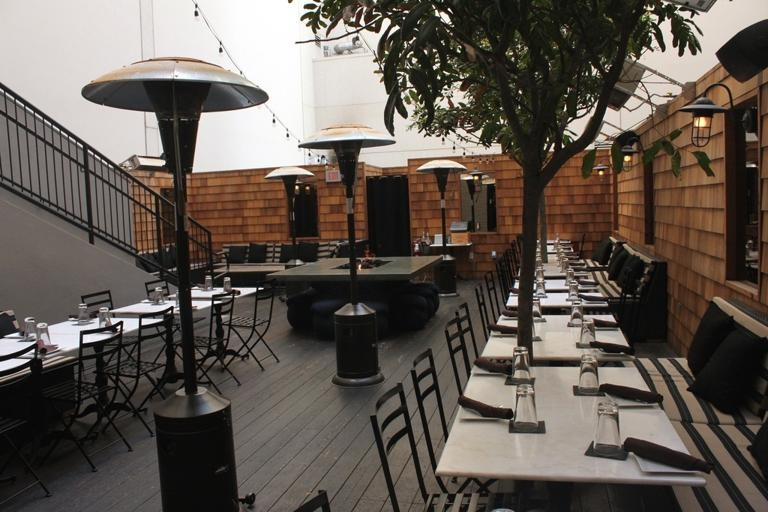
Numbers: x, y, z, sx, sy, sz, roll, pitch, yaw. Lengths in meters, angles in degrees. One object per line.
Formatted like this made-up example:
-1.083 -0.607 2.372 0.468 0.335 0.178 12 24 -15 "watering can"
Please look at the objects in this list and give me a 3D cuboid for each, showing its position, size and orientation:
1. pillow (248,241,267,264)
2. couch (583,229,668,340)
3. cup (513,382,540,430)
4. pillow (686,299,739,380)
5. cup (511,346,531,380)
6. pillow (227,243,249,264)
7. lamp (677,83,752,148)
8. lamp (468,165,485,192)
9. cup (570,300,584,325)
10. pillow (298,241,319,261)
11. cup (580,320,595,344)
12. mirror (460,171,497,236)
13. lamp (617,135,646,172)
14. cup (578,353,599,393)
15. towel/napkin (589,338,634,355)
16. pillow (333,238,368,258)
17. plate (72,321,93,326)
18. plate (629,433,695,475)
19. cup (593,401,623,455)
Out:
-3.729 -0.054 15.809 0.567 0.633 0.215 -1 -1 11 "pillow"
3.935 0.368 9.620 0.961 1.216 3.219 -2 9 12 "couch"
0.956 1.013 3.679 0.232 0.337 0.249 -3 3 0 "cup"
3.208 0.716 5.347 0.204 0.785 0.742 28 57 34 "pillow"
1.034 0.819 4.043 0.129 0.287 0.160 -2 7 13 "cup"
-4.333 -0.028 15.929 0.522 0.558 0.199 1 -10 0 "pillow"
3.535 -1.501 5.678 0.685 0.654 0.402 2 5 4 "lamp"
2.446 -1.962 14.304 0.441 0.495 0.466 1 6 4 "lamp"
1.935 0.575 5.397 0.112 0.229 0.122 -3 7 0 "cup"
-2.105 -0.108 14.974 0.505 0.601 0.221 0 -9 10 "pillow"
1.828 0.697 4.896 0.161 0.237 0.170 -2 3 0 "cup"
2.733 -1.575 15.029 1.049 1.730 1.137 -5 2 -5 "mirror"
3.975 -1.629 8.637 0.461 0.543 0.367 0 -1 -1 "lamp"
1.543 0.879 4.024 0.176 0.288 0.187 -3 7 0 "cup"
1.973 0.803 4.692 0.392 0.142 0.124 2 22 30 "towel/napkin"
-0.971 -0.345 14.704 0.763 0.810 0.575 -5 -14 16 "pillow"
-3.710 0.837 6.601 0.114 0.032 0.131 1 -1 6 "plate"
1.589 1.165 3.100 0.200 0.065 0.193 14 29 27 "plate"
1.362 1.060 3.360 0.241 0.319 0.266 -1 -1 22 "cup"
